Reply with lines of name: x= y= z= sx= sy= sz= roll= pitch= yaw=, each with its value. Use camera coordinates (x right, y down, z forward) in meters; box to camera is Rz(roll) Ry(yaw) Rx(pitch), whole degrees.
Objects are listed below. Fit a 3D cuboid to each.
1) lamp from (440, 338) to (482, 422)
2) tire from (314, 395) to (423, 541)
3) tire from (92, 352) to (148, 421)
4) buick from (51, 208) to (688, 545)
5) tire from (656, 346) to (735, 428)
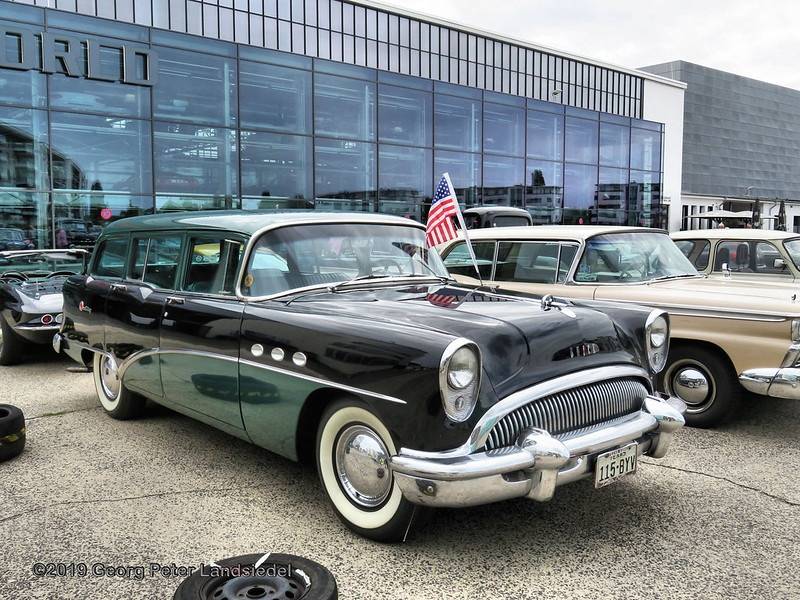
lamp: x=0.325 y=0.427 z=2.722 sx=0.134 sy=0.417 sz=0.238 roll=9 pitch=12 yaw=40
tire: x=-0.205 y=0.999 z=3.062 sx=0.719 sy=0.848 sz=0.124 roll=7 pitch=12 yaw=38
tire: x=-2.676 y=0.818 z=4.925 sx=0.845 sy=0.661 sz=0.278 roll=9 pitch=11 yaw=42
buick: x=-0.909 y=0.296 z=4.236 sx=4.845 sy=1.175 sz=2.152 roll=4 pitch=6 yaw=40
tire: x=3.010 y=0.854 z=5.124 sx=0.387 sy=0.814 sz=0.981 roll=2 pitch=-6 yaw=-14
